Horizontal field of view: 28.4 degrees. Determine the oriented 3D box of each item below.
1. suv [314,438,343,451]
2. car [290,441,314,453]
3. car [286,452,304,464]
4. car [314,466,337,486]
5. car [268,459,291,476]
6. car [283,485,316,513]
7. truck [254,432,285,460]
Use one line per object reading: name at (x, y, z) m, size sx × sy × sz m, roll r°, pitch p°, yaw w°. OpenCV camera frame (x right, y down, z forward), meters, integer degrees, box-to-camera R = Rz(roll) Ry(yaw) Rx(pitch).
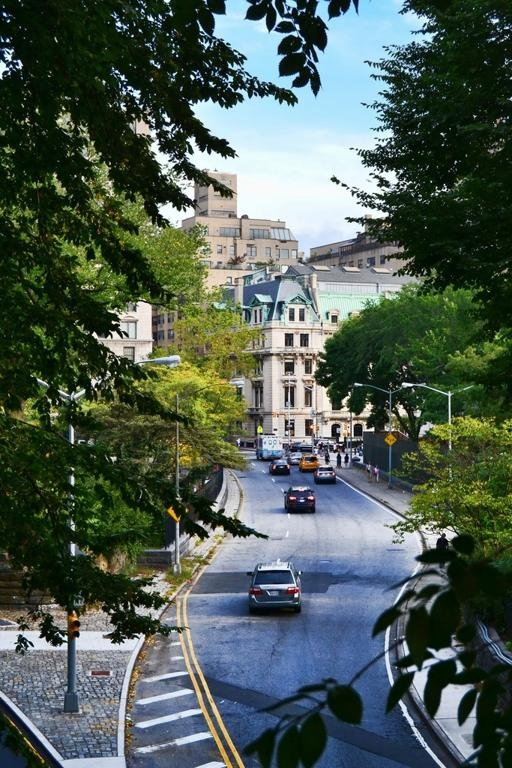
suv at (7.593, 6.392, 106.962) m, size 2.102 × 1.050 × 1.336 m, roll -3°, pitch -4°, yaw 28°
car at (4.464, 6.337, 101.286) m, size 1.766 × 0.997 × 1.057 m, roll -1°, pitch -6°, yaw 30°
car at (3.333, 6.615, 89.407) m, size 0.883 × 0.677 × 1.995 m, roll 1°, pitch 3°, yaw 1°
car at (4.673, 6.302, 68.990) m, size 0.988 × 0.754 × 2.270 m, roll 0°, pitch 3°, yaw 1°
car at (1.729, 6.490, 77.378) m, size 1.341 × 1.079 × 1.823 m, roll 0°, pitch -1°, yaw -7°
car at (2.206, 6.015, 52.046) m, size 1.449 × 1.230 × 1.611 m, roll 0°, pitch -1°, yaw -4°
truck at (1.169, 6.133, 96.189) m, size 1.930 × 2.439 × 3.438 m, roll 0°, pitch -1°, yaw -12°
